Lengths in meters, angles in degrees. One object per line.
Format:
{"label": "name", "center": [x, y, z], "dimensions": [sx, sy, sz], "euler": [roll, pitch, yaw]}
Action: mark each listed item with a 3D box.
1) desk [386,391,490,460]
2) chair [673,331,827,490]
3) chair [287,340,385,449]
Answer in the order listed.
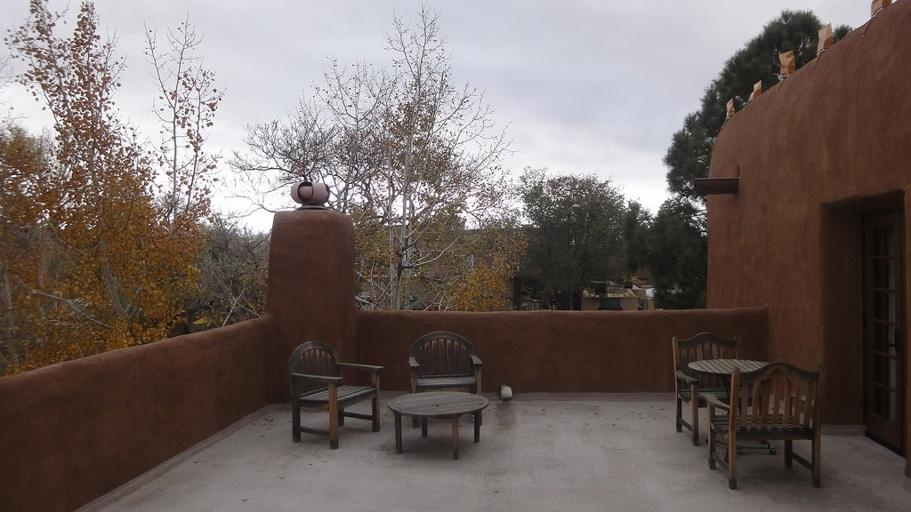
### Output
{"label": "desk", "center": [-0.332, 3.363, 12.386], "dimensions": [1.986, 0.866, 2.046], "euler": [-2, -2, 10]}
{"label": "chair", "center": [5.578, 2.738, 12.577], "dimensions": [1.841, 2.094, 3.295], "euler": [-1, -4, 2]}
{"label": "chair", "center": [-2.581, 2.772, 12.895], "dimensions": [1.716, 2.029, 1.640], "euler": [1, -1, -29]}
